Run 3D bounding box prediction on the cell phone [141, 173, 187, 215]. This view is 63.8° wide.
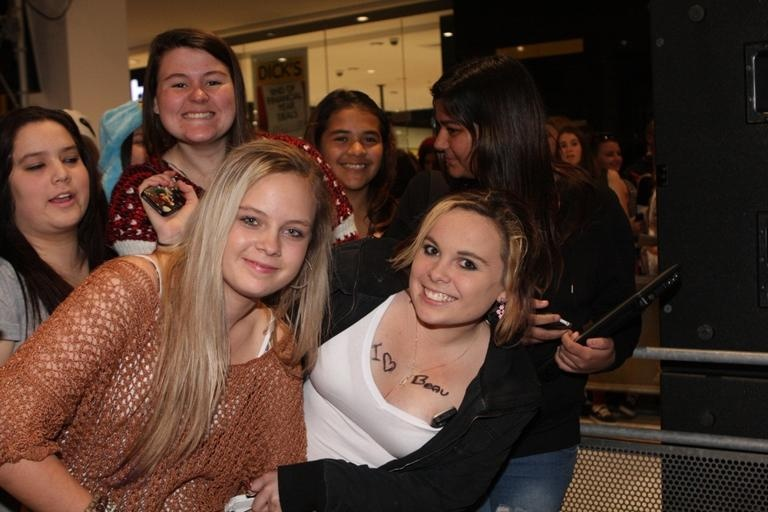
[{"bbox_3d":[-0.882,-0.238,2.470,0.139,0.038,0.144,40,36,8],"label":"cell phone"}]
